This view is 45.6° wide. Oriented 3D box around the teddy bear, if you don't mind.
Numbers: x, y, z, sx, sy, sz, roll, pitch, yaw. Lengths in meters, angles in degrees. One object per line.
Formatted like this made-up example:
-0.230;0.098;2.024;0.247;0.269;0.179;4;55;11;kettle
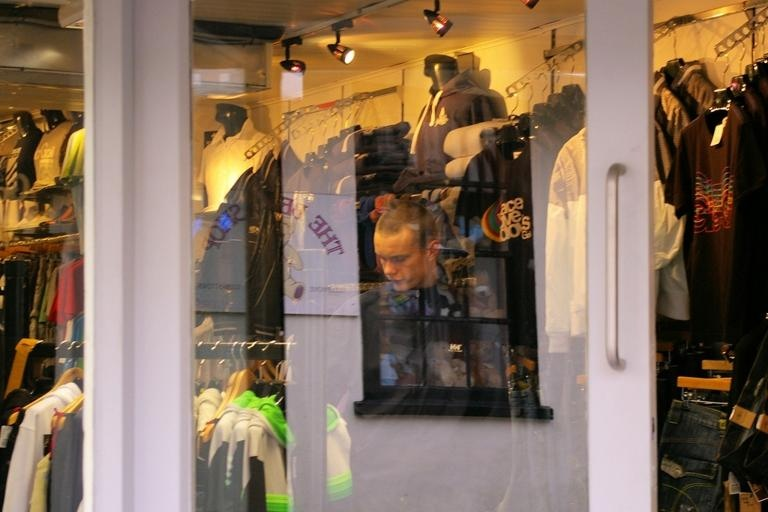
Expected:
0.181;0.236;2.978;0.386;0.346;0.379;-1;-2;1;teddy bear
